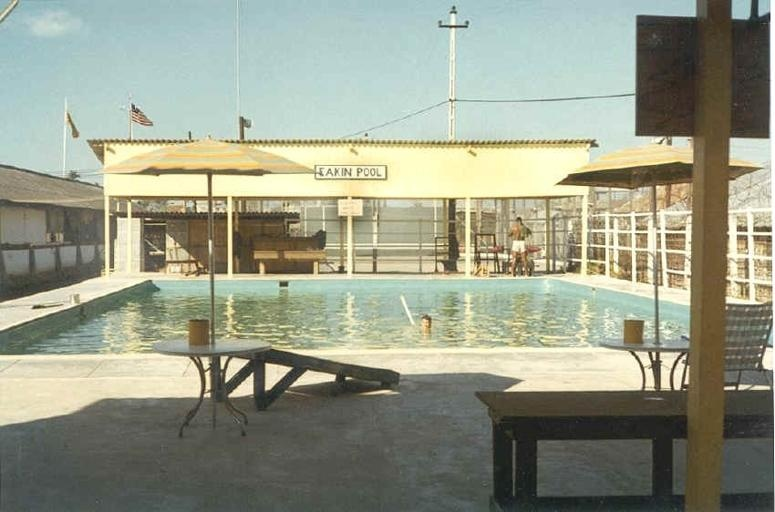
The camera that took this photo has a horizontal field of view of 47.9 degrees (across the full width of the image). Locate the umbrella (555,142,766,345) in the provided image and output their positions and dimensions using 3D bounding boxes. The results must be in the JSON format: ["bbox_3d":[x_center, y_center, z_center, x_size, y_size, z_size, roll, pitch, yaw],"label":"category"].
[{"bbox_3d":[3.386,-0.235,11.257,1.806,2.333,3.045,-1,0,2],"label":"umbrella"}]

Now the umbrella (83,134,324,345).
[{"bbox_3d":[-2.134,-0.409,10.810,2.178,2.253,2.203,3,9,15],"label":"umbrella"}]

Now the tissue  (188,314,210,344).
[{"bbox_3d":[-2.064,0.829,9.579,0.218,0.294,0.202,-1,0,-16],"label":"tissue "}]

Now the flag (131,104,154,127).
[{"bbox_3d":[-7.953,-4.588,28.272,0.448,0.749,1.103,-1,1,2],"label":"flag"}]

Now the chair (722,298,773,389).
[{"bbox_3d":[3.970,0.973,9.602,0.477,0.907,0.999,-1,0,21],"label":"chair"}]

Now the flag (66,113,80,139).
[{"bbox_3d":[-8.183,-3.446,22.712,0.230,0.743,1.778,-1,1,-20],"label":"flag"}]

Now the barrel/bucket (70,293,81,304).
[{"bbox_3d":[-6.345,0.854,17.884,0.268,0.201,0.212,0,-1,-44],"label":"barrel/bucket"}]
